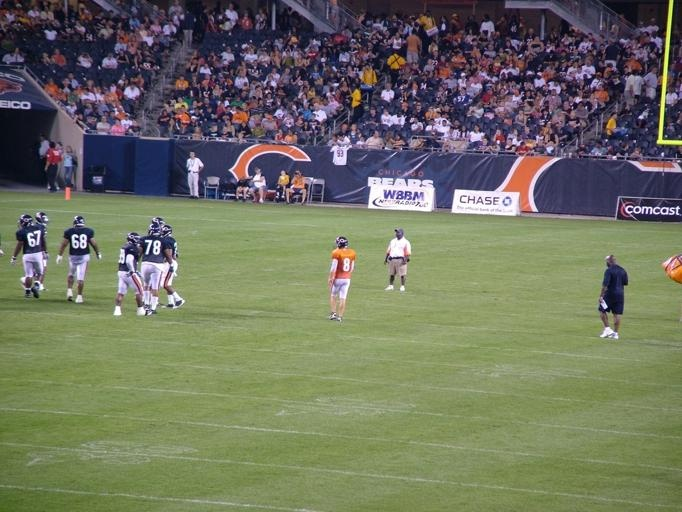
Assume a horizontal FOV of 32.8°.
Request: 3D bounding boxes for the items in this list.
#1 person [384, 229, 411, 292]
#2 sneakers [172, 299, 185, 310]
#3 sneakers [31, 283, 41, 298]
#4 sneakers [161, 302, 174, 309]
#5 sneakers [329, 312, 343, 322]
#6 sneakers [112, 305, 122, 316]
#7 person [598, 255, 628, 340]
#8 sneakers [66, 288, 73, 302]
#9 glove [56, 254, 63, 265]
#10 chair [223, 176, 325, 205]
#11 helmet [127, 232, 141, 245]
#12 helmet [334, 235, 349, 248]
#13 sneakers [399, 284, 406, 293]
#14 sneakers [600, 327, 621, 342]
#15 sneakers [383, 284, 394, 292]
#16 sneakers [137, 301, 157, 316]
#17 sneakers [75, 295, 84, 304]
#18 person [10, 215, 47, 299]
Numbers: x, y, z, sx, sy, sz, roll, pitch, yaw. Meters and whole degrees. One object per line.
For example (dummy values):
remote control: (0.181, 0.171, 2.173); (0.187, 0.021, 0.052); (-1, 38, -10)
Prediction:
person: (1.496, 0.051, 30.348); (0.603, 1.597, 1.146); (2, 12, 2)
sneakers: (-3.831, 1.118, 27.490); (0.298, 0.135, 0.129); (-43, 8, 32)
sneakers: (-7.384, 0.820, 28.114); (0.147, 0.406, 0.235); (0, 44, -1)
sneakers: (-4.107, 1.156, 27.593); (0.374, 0.144, 0.125); (5, 2, 14)
sneakers: (-0.045, 1.386, 26.700); (0.403, 0.165, 0.127); (8, 2, 7)
sneakers: (-5.123, 1.247, 26.545); (0.166, 0.223, 0.253); (1, -1, -1)
person: (6.082, 0.822, 25.849); (0.554, 1.888, 1.581); (4, 12, 12)
sneakers: (-6.494, 0.943, 27.919); (0.165, 0.202, 0.465); (3, -16, -19)
glove: (-7.558, 0.078, 31.167); (0.223, 0.269, 0.095); (-1, -17, -4)
chair: (-2.349, -2.906, 50.579); (4.580, 1.079, 1.531); (1, 4, 9)
helmet: (-4.718, -0.398, 26.089); (0.372, 0.285, 0.278); (-6, 15, 1)
helmet: (0.071, -0.337, 26.357); (0.269, 0.287, 0.319); (-15, 37, -29)
sneakers: (1.623, 0.835, 30.288); (0.174, 0.152, 0.123); (2, 12, 18)
sneakers: (5.983, 1.695, 25.687); (0.197, 0.216, 0.513); (1, 6, 4)
sneakers: (1.287, 0.816, 30.324); (0.231, 0.128, 0.100); (2, 7, 6)
sneakers: (-4.566, 1.235, 26.770); (0.599, 0.253, 0.199); (-5, 6, 24)
sneakers: (-6.235, 0.992, 27.702); (0.117, 0.193, 0.304); (5, 12, 1)
person: (-7.503, -0.014, 28.122); (0.748, 1.925, 0.941); (-3, 13, -20)
